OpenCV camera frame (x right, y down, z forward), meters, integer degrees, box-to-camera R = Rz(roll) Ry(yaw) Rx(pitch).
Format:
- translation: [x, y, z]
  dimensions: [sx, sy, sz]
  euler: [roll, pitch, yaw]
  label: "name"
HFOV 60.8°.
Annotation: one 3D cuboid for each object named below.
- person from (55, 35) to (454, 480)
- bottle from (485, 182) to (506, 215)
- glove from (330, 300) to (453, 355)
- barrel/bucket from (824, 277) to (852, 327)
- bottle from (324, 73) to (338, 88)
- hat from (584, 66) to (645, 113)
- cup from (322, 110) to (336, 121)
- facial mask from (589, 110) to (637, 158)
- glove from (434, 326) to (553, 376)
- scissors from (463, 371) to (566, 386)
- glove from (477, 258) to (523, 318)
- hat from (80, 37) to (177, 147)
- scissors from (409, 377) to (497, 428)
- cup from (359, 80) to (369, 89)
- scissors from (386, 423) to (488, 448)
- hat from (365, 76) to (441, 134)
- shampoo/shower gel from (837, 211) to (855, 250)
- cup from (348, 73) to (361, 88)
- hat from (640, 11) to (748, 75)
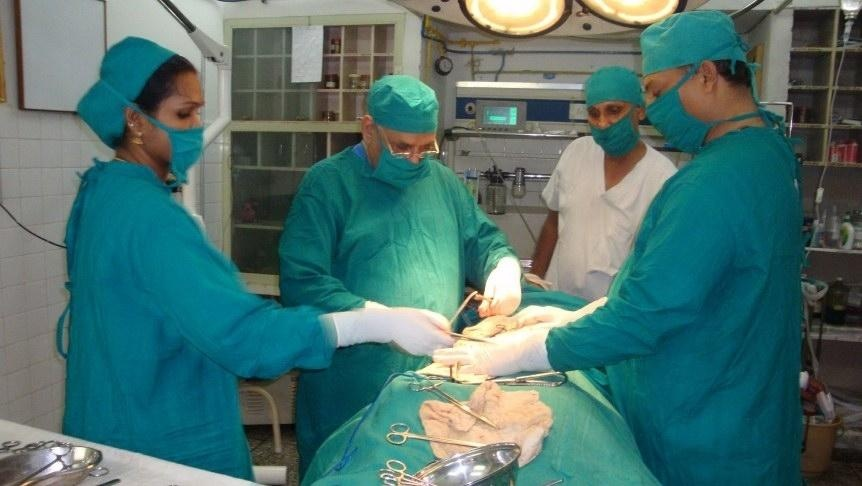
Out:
- translation: [-0.897, 0.088, 2.951]
  dimensions: [1.287, 1.816, 0.313]
  euler: [1, 4, 3]
  label: "person"
- translation: [0.475, -0.330, 5.535]
  dimensions: [0.165, 0.214, 0.152]
  euler: [2, 4, 0]
  label: "bottle"
- translation: [-0.133, 0.377, 3.140]
  dimensions: [0.598, 0.157, 0.184]
  euler: [-2, 49, -21]
  label: "glove"
- translation: [2.872, 0.421, 5.277]
  dimensions: [0.199, 0.302, 0.190]
  euler: [4, 7, -1]
  label: "barrel/bucket"
- translation: [-0.746, -1.202, 5.440]
  dimensions: [0.118, 0.148, 0.035]
  euler: [-1, 8, 13]
  label: "bottle"
- translation: [1.019, -0.891, 4.084]
  dimensions: [0.331, 0.186, 0.286]
  euler: [3, 10, 11]
  label: "hat"
- translation: [-0.761, -0.938, 5.418]
  dimensions: [0.087, 0.055, 0.082]
  euler: [0, -3, 0]
  label: "cup"
- translation: [1.000, -0.590, 4.071]
  dimensions: [0.270, 0.178, 0.280]
  euler: [-15, 2, 23]
  label: "facial mask"
- translation: [0.257, 0.489, 3.163]
  dimensions: [0.419, 0.109, 0.236]
  euler: [-14, 8, -9]
  label: "glove"
- translation: [0.349, 0.583, 3.157]
  dimensions: [0.352, 0.040, 0.061]
  euler: [-4, -2, -9]
  label: "scissors"
- translation: [0.336, 0.204, 3.528]
  dimensions: [0.177, 0.097, 0.292]
  euler: [-3, 34, 28]
  label: "glove"
- translation: [-1.278, -0.644, 3.040]
  dimensions: [0.438, 0.358, 0.322]
  euler: [-20, 43, -35]
  label: "hat"
- translation: [0.081, 0.650, 3.029]
  dimensions: [0.135, 0.010, 0.402]
  euler: [2, 15, -40]
  label: "scissors"
- translation: [-0.500, -1.169, 5.388]
  dimensions: [0.067, 0.058, 0.033]
  euler: [0, -6, -3]
  label: "cup"
- translation: [0.018, 0.770, 2.887]
  dimensions: [0.402, 0.014, 0.121]
  euler: [7, 37, 8]
  label: "scissors"
- translation: [-0.115, -0.649, 3.480]
  dimensions: [0.364, 0.208, 0.311]
  euler: [15, 39, 32]
  label: "hat"
- translation: [2.968, -0.089, 5.269]
  dimensions: [0.101, 0.254, 0.206]
  euler: [3, 4, 29]
  label: "shampoo/shower gel"
- translation: [-0.568, -1.187, 5.372]
  dimensions: [0.101, 0.098, 0.098]
  euler: [1, 10, 0]
  label: "cup"
- translation: [1.105, -0.882, 3.170]
  dimensions: [0.439, 0.220, 0.320]
  euler: [-8, 11, -9]
  label: "hat"
